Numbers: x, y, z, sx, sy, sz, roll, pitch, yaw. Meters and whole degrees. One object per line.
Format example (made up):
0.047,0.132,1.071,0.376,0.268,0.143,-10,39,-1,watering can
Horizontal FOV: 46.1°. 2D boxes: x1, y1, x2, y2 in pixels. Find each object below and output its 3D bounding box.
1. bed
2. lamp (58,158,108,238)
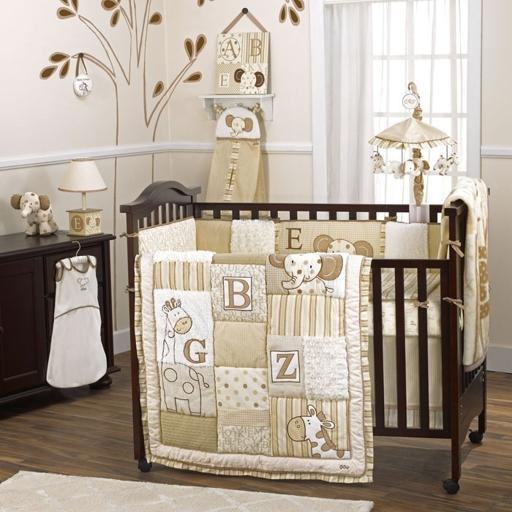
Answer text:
0.168,0.180,2.696,1.621,1.045,1.690,1,6,24,bed
-0.876,-0.305,3.042,0.184,0.398,0.218,5,13,13,lamp
